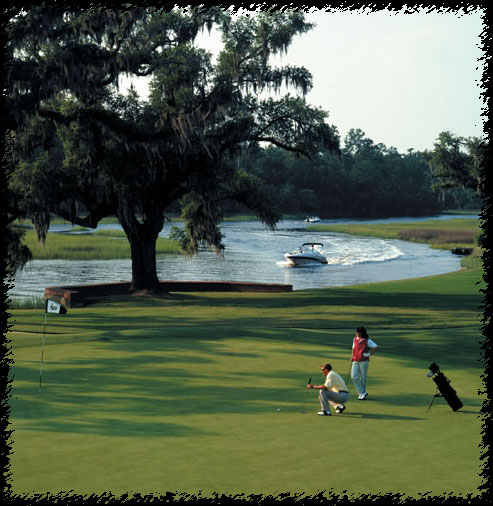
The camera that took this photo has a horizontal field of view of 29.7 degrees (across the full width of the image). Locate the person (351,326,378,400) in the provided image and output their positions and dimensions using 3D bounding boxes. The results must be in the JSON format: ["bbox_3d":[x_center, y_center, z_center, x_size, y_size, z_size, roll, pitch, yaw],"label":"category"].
[{"bbox_3d":[2.419,2.183,19.319,0.521,1.222,2.395,-3,-2,7],"label":"person"}]

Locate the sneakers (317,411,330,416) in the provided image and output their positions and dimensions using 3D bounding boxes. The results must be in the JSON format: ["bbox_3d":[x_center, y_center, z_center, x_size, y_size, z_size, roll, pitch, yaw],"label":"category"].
[{"bbox_3d":[1.424,2.935,17.318,0.215,0.103,0.094,3,1,19],"label":"sneakers"}]

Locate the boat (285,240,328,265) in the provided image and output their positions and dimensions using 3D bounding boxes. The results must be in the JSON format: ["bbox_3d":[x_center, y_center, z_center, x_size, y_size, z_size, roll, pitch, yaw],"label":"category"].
[{"bbox_3d":[4.552,-0.040,68.177,1.569,1.759,3.379,3,3,21],"label":"boat"}]

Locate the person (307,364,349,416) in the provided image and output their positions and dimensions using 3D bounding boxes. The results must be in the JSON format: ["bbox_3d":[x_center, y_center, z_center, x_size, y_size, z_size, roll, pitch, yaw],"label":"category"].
[{"bbox_3d":[1.723,2.607,17.822,0.907,1.212,0.679,-1,-6,21],"label":"person"}]
